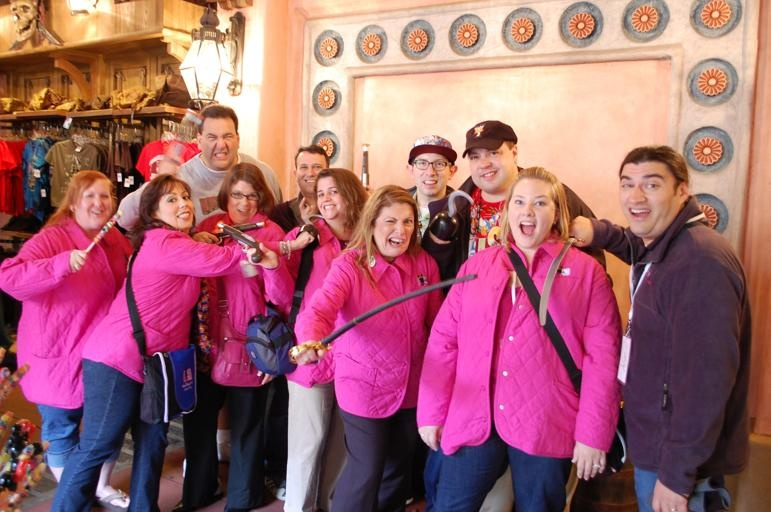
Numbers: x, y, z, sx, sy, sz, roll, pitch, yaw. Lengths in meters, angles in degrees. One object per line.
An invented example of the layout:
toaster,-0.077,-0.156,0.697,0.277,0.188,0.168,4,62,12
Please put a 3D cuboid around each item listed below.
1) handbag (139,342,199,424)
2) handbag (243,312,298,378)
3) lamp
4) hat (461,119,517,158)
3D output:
handbag,-1.188,0.724,3.071,0.287,0.442,0.154,-1,7,-24
handbag,-0.617,0.475,3.042,0.197,0.350,0.249,-11,-10,-42
lamp,-1.498,-1.713,4.929,0.338,0.903,0.579,4,7,17
hat,0.624,-0.668,3.269,0.255,0.130,0.174,-1,-7,-43
